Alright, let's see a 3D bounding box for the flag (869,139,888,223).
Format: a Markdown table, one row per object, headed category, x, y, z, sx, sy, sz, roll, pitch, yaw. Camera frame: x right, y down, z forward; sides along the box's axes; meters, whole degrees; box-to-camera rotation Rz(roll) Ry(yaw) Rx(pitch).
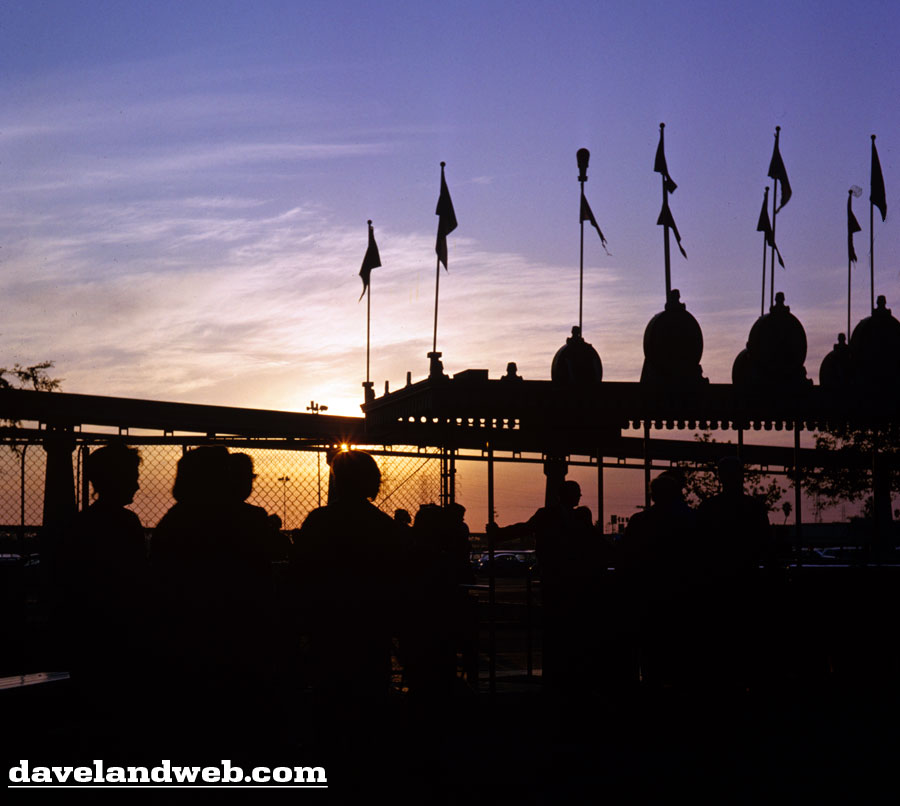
| category | x | y | z | sx | sy | sz | roll | pitch | yaw |
| --- | --- | --- | --- | --- | --- | --- | --- | --- | --- |
| flag | 5.344 | -2.725 | 22.426 | 0.232 | 1.141 | 1.832 | 5 | 13 | 12 |
